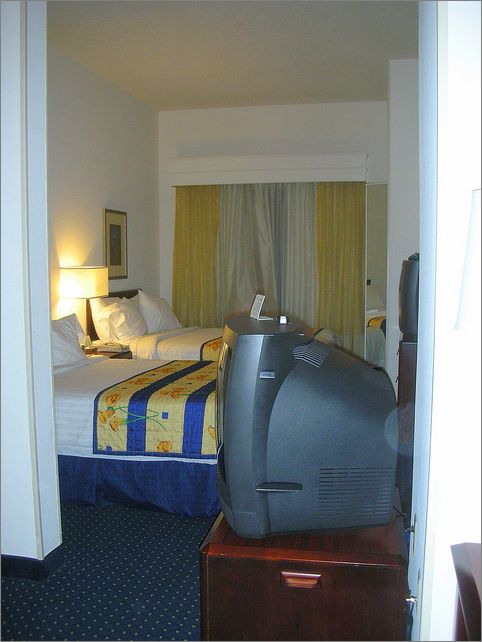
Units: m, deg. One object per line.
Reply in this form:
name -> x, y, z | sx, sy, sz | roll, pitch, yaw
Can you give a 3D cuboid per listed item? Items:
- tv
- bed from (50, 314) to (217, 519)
tv -> 0.179, 0.264, 1.501 | 0.386, 0.661, 0.518 | 1, 2, 3
bed -> -0.543, 0.585, 2.922 | 0.754, 0.798, 0.975 | 0, 8, 1
